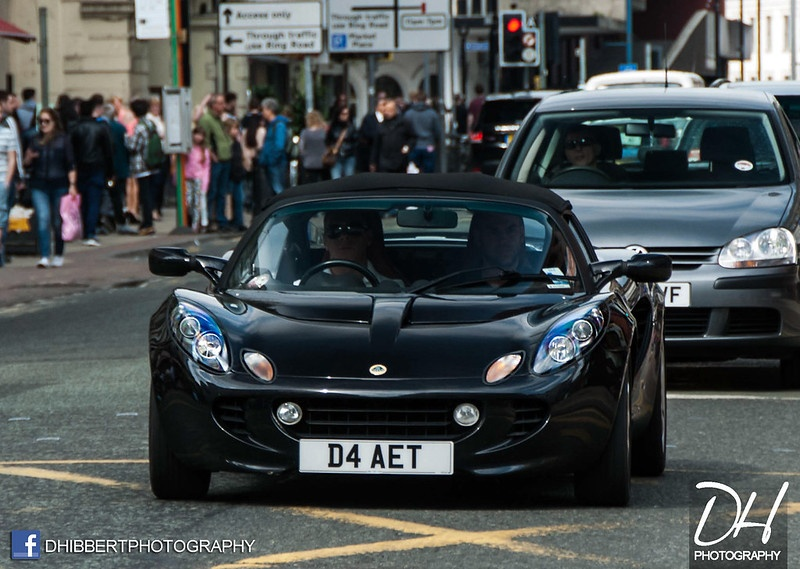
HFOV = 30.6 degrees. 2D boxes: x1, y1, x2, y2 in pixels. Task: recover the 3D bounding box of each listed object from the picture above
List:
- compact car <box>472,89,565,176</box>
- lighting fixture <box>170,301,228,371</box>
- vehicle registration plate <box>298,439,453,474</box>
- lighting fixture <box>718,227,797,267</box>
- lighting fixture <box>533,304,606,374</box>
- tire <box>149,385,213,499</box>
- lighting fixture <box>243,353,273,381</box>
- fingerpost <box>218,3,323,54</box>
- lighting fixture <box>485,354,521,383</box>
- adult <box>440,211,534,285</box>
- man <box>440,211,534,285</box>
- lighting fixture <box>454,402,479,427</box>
[{"bbox_3d":[2.240,-3.183,31.224,1.549,1.509,3.096,0,13,4],"label":"compact car"},{"bbox_3d":[-1.046,0.283,7.600,0.171,0.304,0.435,-6,9,-36],"label":"lighting fixture"},{"bbox_3d":[-0.123,0.872,7.398,0.788,0.174,0.049,0,7,4],"label":"vehicle registration plate"},{"bbox_3d":[2.640,-0.233,10.791,0.452,0.206,0.291,8,-17,-35],"label":"lighting fixture"},{"bbox_3d":[0.871,0.290,7.504,0.154,0.288,0.467,6,10,44],"label":"lighting fixture"},{"bbox_3d":[-1.148,0.802,7.653,0.227,0.623,0.611,1,0,3],"label":"tire"},{"bbox_3d":[-0.721,0.418,7.458,0.175,0.126,0.069,4,8,33],"label":"lighting fixture"},{"bbox_3d":[-2.543,-5.009,28.801,2.090,1.033,0.689,-2,7,-12],"label":"fingerpost"},{"bbox_3d":[0.522,0.424,7.394,0.200,0.137,0.063,-4,8,-22],"label":"lighting fixture"},{"bbox_3d":[0.540,-0.214,8.249,0.528,0.371,0.636,1,34,6],"label":"adult"},{"bbox_3d":[0.539,-0.215,8.221,0.528,0.371,0.636,1,34,6],"label":"man"},{"bbox_3d":[0.334,0.658,7.375,0.134,0.126,0.030,0,7,4],"label":"lighting fixture"}]
